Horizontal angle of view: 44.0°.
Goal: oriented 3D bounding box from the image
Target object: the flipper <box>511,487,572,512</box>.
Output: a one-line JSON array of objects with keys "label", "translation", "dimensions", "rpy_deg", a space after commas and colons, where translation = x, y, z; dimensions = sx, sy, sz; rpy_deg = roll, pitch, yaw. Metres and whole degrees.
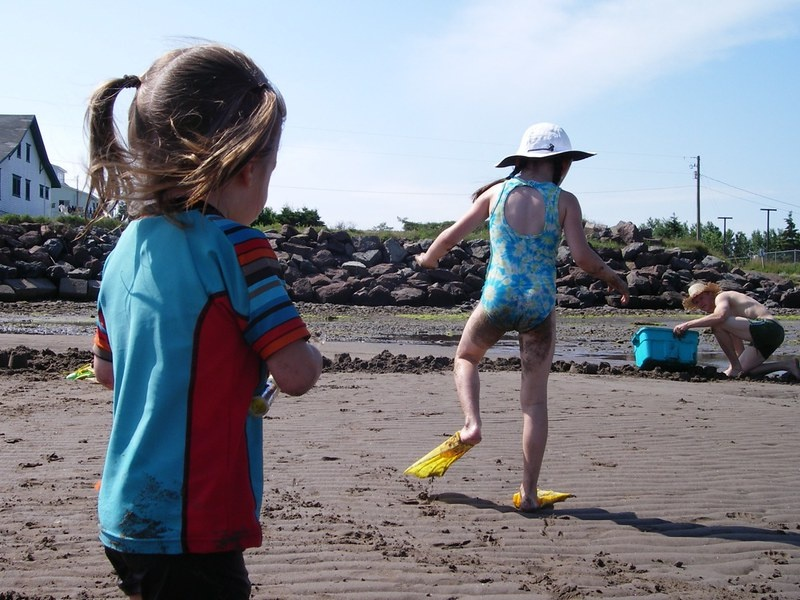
[{"label": "flipper", "translation": [0.901, 1.248, 6.265], "dimensions": [0.280, 0.078, 0.142], "rpy_deg": [-3, 1, -27]}]

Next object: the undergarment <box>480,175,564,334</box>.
[{"label": "undergarment", "translation": [0.755, -0.275, 6.132], "dimensions": [0.452, 0.913, 0.271], "rpy_deg": [2, 8, 7]}]

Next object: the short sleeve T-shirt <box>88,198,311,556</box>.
[{"label": "short sleeve T-shirt", "translation": [-0.862, 0.330, 4.211], "dimensions": [0.860, 1.414, 0.401], "rpy_deg": [1, 7, -3]}]

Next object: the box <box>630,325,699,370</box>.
[{"label": "box", "translation": [3.180, 0.542, 11.714], "dimensions": [0.654, 0.298, 0.493], "rpy_deg": [3, -13, -1]}]

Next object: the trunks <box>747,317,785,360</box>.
[{"label": "trunks", "translation": [4.347, 0.414, 11.561], "dimensions": [0.518, 0.462, 0.369], "rpy_deg": [-2, 7, -42]}]
